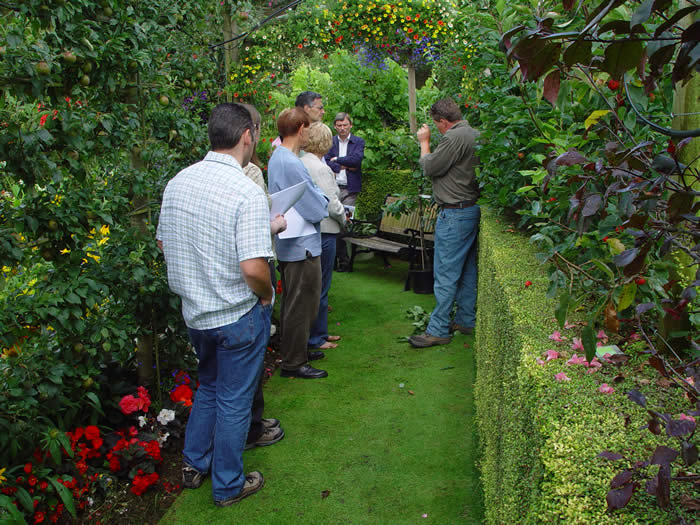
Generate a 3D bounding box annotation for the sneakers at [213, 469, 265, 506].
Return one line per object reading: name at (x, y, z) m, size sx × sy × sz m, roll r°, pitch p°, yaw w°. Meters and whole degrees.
sneakers at (-0.677, 1.348, 3.508) m, size 0.113 × 0.132 × 0.311 m, roll 21°, pitch 33°, yaw 37°

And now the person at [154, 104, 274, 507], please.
person at (-0.753, 0.261, 3.381) m, size 0.614 × 2.275 × 0.444 m, roll -6°, pitch 15°, yaw -19°

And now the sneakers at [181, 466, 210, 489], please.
sneakers at (-0.984, 1.321, 3.666) m, size 0.077 × 0.094 × 0.209 m, roll 4°, pitch 6°, yaw 19°

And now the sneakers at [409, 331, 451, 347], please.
sneakers at (0.757, 0.728, 5.694) m, size 0.394 × 0.182 × 0.146 m, roll 3°, pitch 3°, yaw -7°

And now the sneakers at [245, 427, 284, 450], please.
sneakers at (-0.589, 1.184, 4.049) m, size 0.267 × 0.115 × 0.102 m, roll -9°, pitch 21°, yaw -16°

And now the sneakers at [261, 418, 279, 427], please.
sneakers at (-0.571, 1.130, 4.168) m, size 0.133 × 0.056 × 0.048 m, roll -4°, pitch 17°, yaw -25°

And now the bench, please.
bench at (0.558, -0.270, 8.318) m, size 0.653 × 0.899 × 1.427 m, roll 0°, pitch 3°, yaw -25°

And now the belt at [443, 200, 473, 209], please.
belt at (0.997, -0.534, 5.421) m, size 0.302 × 0.083 × 0.094 m, roll 2°, pitch 14°, yaw 12°

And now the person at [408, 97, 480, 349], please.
person at (0.923, -0.369, 5.530) m, size 0.595 × 2.289 × 0.560 m, roll 1°, pitch 14°, yaw 11°
